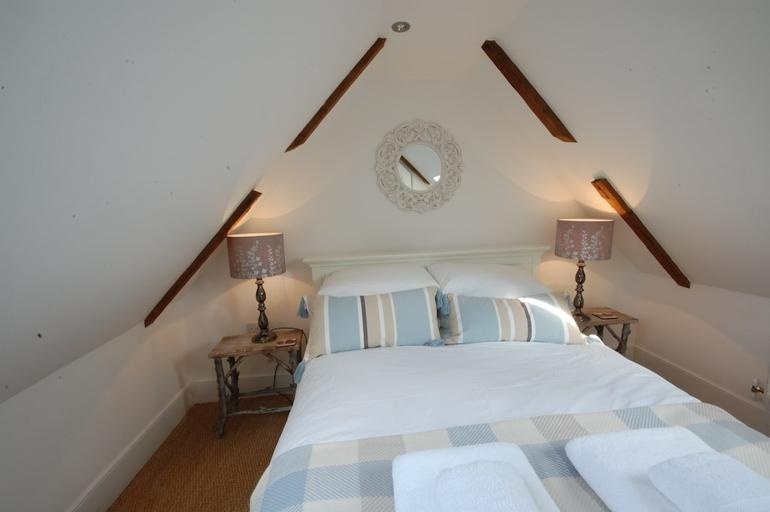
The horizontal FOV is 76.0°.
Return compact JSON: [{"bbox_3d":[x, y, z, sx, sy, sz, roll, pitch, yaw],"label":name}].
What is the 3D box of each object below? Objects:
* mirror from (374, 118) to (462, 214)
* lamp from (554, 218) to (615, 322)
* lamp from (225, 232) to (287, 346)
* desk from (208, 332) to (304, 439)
[{"bbox_3d":[0.229,-0.728,3.799,0.637,0.674,0.042,-5,11,-9],"label":"mirror"},{"bbox_3d":[1.529,0.099,3.853,0.414,0.738,0.412,4,3,27],"label":"lamp"},{"bbox_3d":[-0.907,0.236,3.582,0.391,0.758,0.398,-5,8,-15],"label":"lamp"},{"bbox_3d":[-0.907,0.912,3.625,0.581,0.584,0.485,-5,6,-8],"label":"desk"}]
